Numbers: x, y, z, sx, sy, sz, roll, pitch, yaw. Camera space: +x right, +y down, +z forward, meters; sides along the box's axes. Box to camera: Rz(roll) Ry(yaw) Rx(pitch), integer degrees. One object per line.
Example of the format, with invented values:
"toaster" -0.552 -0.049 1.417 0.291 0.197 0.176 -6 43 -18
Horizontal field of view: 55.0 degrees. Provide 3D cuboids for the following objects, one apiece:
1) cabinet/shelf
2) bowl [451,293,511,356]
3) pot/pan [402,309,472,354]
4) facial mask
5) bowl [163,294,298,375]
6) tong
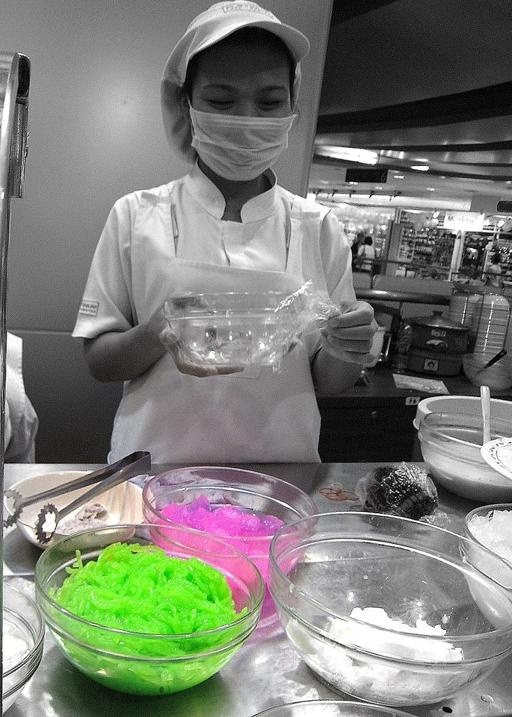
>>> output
"cabinet/shelf" 0.596 0.385 2.759 0.519 0.354 0.489 0 -4 5
"bowl" 1.368 -0.263 3.089 0.349 0.401 0.262 -4 16 3
"pot/pan" 1.074 -0.142 2.943 0.381 0.213 0.190 10 16 16
"facial mask" -0.051 -0.528 1.271 0.197 0.209 0.115 -2 -25 -12
"bowl" -0.053 -0.075 1.131 0.236 0.172 0.267 -8 16 -37
"tong" -0.288 0.219 0.824 0.076 0.039 0.189 18 21 30
